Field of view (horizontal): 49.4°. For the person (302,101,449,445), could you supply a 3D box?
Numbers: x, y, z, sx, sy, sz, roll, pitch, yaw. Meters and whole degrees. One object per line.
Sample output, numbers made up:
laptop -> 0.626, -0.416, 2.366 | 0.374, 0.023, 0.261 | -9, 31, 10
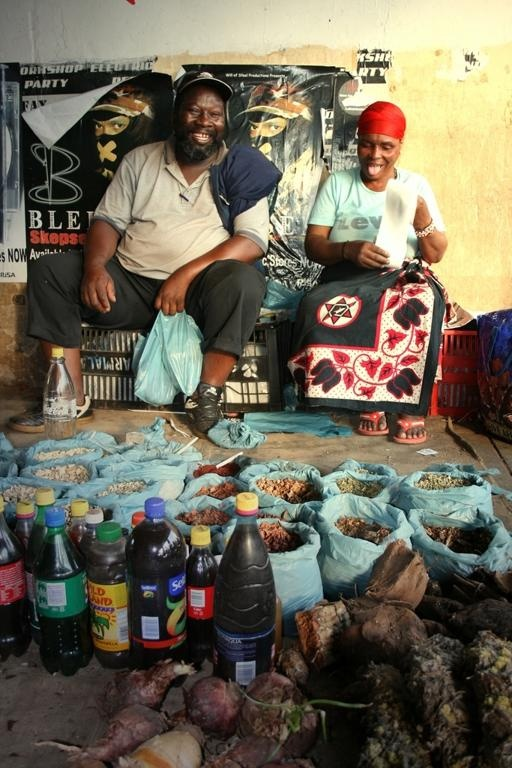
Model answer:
person -> 0.766, -0.666, 3.302 | 0.614, 1.823, 0.996 | -8, 20, -28

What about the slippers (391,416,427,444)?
slippers -> 0.860, 0.261, 3.107 | 0.138, 0.085, 0.272 | -1, -3, 11

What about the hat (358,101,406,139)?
hat -> 0.693, -1.444, 3.064 | 0.249, 0.195, 0.143 | 4, 18, 8

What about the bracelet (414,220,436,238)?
bracelet -> 0.967, -0.875, 3.163 | 0.048, 0.088, 0.105 | 34, -12, 7

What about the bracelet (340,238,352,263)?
bracelet -> 0.523, -0.766, 3.195 | 0.033, 0.090, 0.113 | -3, 18, -12

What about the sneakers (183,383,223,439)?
sneakers -> -0.291, 0.124, 3.174 | 0.137, 0.181, 0.382 | 32, 15, -31

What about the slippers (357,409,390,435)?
slippers -> 0.685, 0.225, 3.236 | 0.182, 0.117, 0.180 | 5, 18, 11
